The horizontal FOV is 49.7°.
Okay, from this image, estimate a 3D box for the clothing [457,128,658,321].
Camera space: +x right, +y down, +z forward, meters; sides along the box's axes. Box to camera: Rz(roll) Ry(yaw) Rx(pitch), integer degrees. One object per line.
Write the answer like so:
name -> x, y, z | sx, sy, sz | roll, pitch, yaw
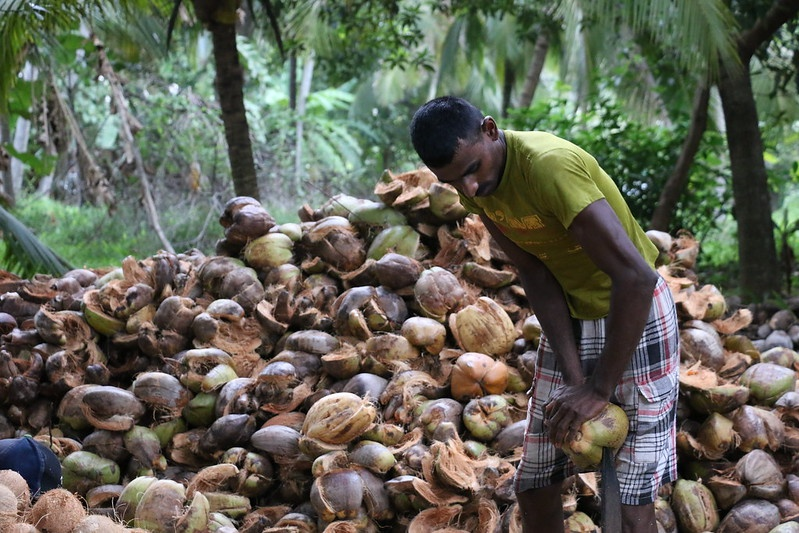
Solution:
clothing -> 1.142, -0.337, 6.377 | 1.067, 1.748, 0.820 | -8, 22, 49
